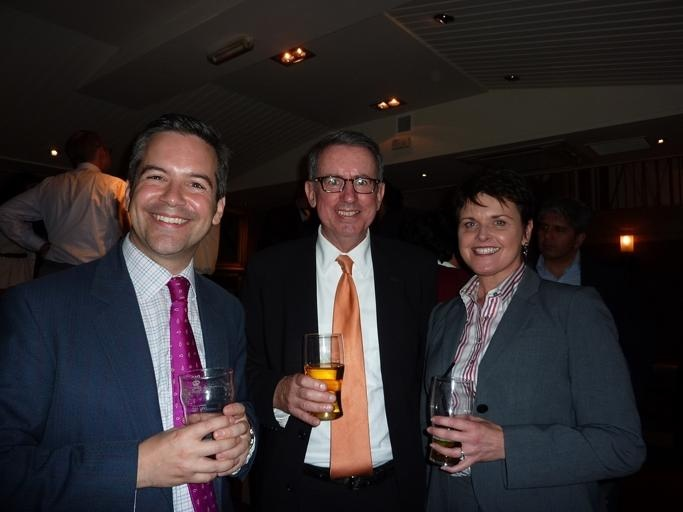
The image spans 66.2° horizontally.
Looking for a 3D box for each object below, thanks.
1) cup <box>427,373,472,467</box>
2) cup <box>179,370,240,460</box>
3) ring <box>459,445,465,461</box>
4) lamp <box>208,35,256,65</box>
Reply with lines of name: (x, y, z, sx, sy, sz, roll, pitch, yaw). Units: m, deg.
cup: (0.499, 0.759, 2.389, 0.198, 0.408, 0.087, 0, -3, 12)
cup: (-0.548, 0.604, 2.136, 0.251, 0.280, 0.270, -3, -15, -1)
ring: (0.540, 0.888, 2.356, 0.020, 0.082, 0.078, 0, -3, 7)
lamp: (-1.188, -2.248, 5.741, 0.651, 0.176, 0.207, -2, -4, 35)
